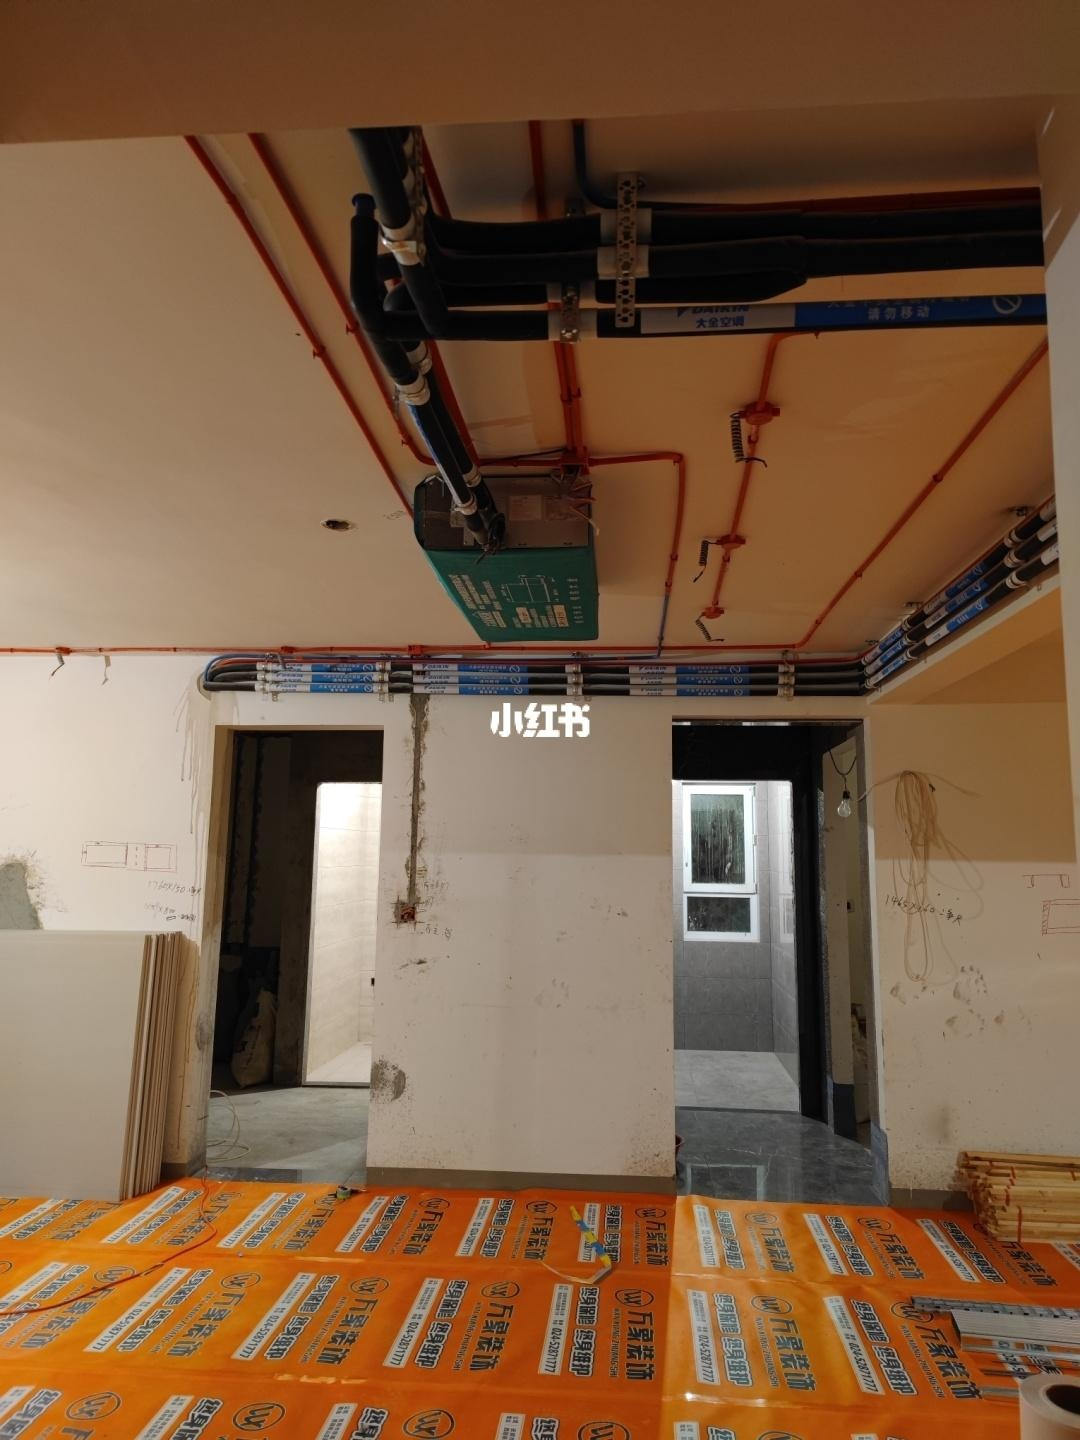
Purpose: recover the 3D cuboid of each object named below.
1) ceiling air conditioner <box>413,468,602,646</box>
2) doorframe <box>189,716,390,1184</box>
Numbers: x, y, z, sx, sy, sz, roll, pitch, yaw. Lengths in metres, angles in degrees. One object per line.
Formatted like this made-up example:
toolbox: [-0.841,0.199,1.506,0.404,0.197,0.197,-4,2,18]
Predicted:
ceiling air conditioner: [-0.087,-0.518,3.166,0.508,0.203,0.974,4,-11,10]
doorframe: [-1.900,1.306,6.846,1.203,2.516,0.623,-7,-13,37]
